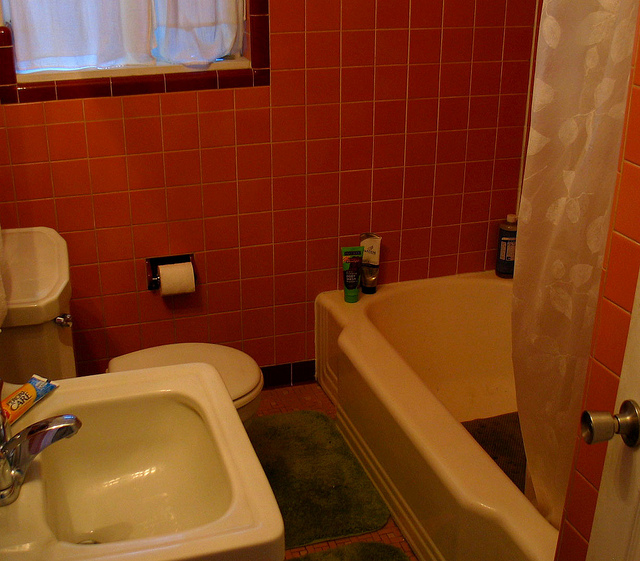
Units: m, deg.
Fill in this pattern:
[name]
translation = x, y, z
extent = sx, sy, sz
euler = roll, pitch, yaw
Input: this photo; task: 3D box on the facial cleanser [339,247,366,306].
[facial cleanser]
translation = 0.129, -0.029, 2.244
extent = 0.089, 0.235, 0.064
euler = -3, 26, -6
